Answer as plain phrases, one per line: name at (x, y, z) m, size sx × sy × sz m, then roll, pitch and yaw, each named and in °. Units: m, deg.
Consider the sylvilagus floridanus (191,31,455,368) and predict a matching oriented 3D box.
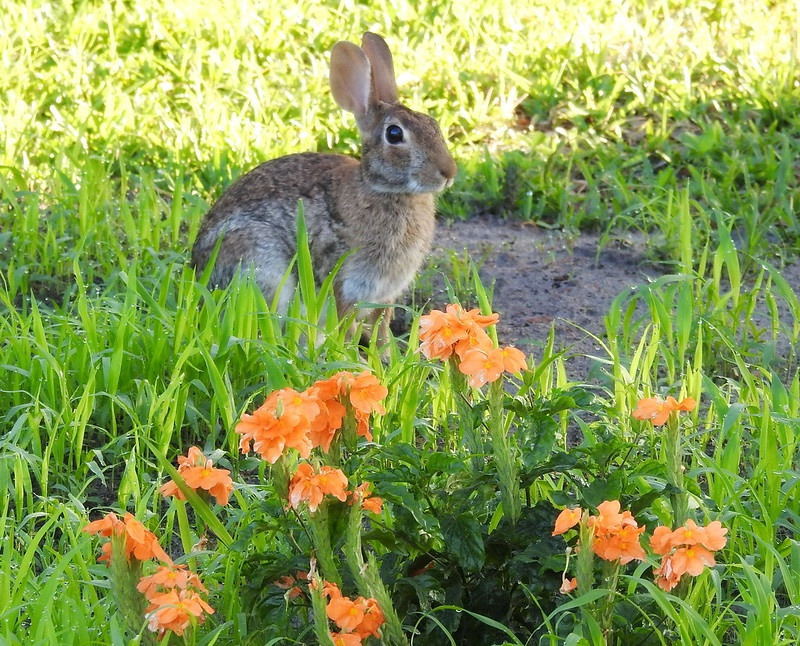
sylvilagus floridanus at (-0.401, -0.614, 4.570) m, size 1.348 × 1.477 × 0.835 m, roll 9°, pitch 15°, yaw 19°
